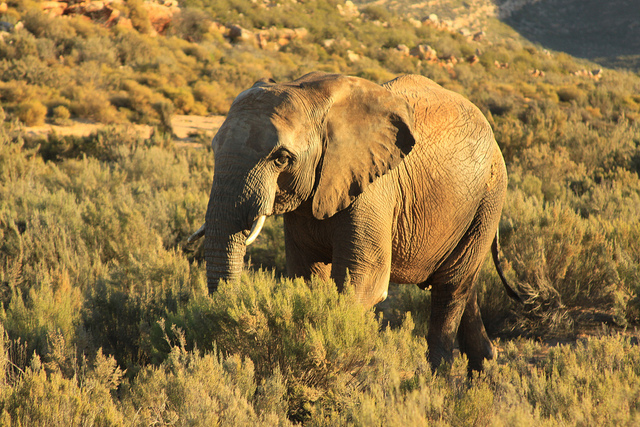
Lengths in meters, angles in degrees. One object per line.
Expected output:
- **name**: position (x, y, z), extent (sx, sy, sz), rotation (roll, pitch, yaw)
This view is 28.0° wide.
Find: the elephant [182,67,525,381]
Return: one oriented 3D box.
- **elephant**: position (1.422, 0.329, 38.123), extent (9.856, 9.835, 6.545), rotation (-1, 14, -28)
